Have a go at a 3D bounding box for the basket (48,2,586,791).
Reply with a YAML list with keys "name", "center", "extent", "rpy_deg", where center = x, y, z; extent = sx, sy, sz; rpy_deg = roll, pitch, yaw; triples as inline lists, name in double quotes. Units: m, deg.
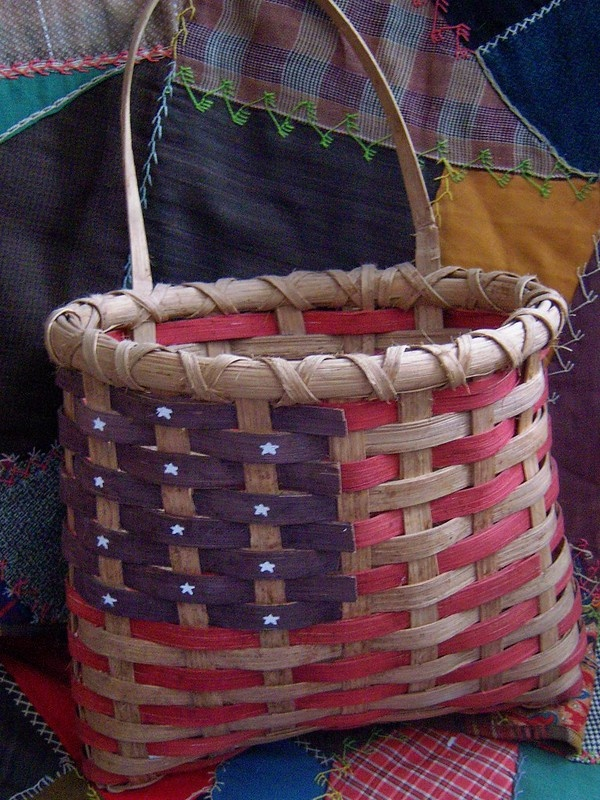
- name: "basket"
  center: [-0.009, -0.033, 0.901]
  extent: [0.541, 0.775, 0.349]
  rpy_deg: [-9, 14, -13]
